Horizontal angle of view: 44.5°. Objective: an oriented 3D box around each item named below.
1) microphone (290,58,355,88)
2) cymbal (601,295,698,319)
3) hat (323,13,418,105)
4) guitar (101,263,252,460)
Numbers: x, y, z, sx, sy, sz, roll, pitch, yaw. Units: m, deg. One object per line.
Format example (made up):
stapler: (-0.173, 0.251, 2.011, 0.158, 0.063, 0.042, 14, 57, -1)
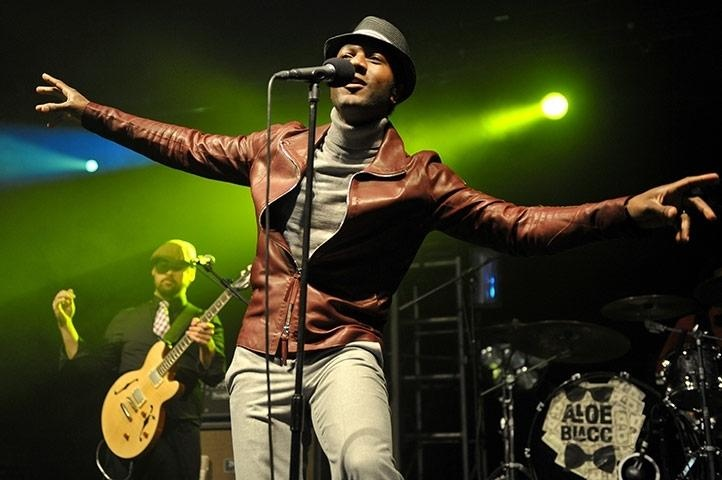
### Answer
microphone: (-0.244, -1.047, 5.550, 0.399, 0.167, 0.164, -7, 4, -35)
cymbal: (2.390, 0.550, 7.229, 0.361, 0.087, 0.372, -19, -30, 32)
hat: (0.112, -1.223, 5.716, 0.491, 0.238, 0.624, 12, -33, 23)
guitar: (-1.579, 1.110, 7.612, 0.672, 1.858, 0.255, 39, -1, 15)
